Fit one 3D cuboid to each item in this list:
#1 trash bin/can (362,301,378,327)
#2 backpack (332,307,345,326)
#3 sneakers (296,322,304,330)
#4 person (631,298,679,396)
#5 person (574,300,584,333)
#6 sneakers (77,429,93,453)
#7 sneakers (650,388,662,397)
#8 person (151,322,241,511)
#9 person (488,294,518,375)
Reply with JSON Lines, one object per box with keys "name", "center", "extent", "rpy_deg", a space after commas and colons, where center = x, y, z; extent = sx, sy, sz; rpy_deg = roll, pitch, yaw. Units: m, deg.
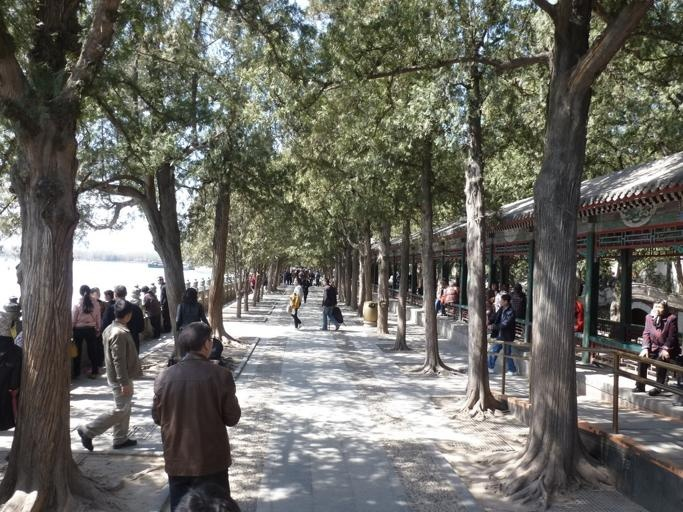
{"name": "trash bin/can", "center": [1.164, 2.438, 25.489], "extent": [0.696, 1.251, 0.756], "rpy_deg": [3, 0, 18]}
{"name": "backpack", "center": [-0.167, 2.366, 24.069], "extent": [0.373, 0.824, 1.034], "rpy_deg": [0, 3, 2]}
{"name": "sneakers", "center": [-1.690, 2.826, 24.386], "extent": [0.168, 0.289, 0.625], "rpy_deg": [0, 6, -2]}
{"name": "person", "center": [5.940, 1.704, 11.308], "extent": [0.789, 1.712, 1.172], "rpy_deg": [0, 3, 13]}
{"name": "person", "center": [5.902, 1.492, 14.896], "extent": [0.167, 0.868, 1.053], "rpy_deg": [1, 3, 21]}
{"name": "sneakers", "center": [-3.892, 2.797, 9.172], "extent": [0.135, 0.377, 0.112], "rpy_deg": [-20, 11, -36]}
{"name": "sneakers", "center": [5.810, 2.518, 11.201], "extent": [0.303, 0.160, 0.121], "rpy_deg": [9, -14, -25]}
{"name": "person", "center": [-1.550, 1.758, 6.482], "extent": [0.872, 2.052, 0.533], "rpy_deg": [1, 4, 30]}
{"name": "person", "center": [3.991, 1.959, 14.969], "extent": [0.702, 2.115, 0.576], "rpy_deg": [7, 15, 27]}
